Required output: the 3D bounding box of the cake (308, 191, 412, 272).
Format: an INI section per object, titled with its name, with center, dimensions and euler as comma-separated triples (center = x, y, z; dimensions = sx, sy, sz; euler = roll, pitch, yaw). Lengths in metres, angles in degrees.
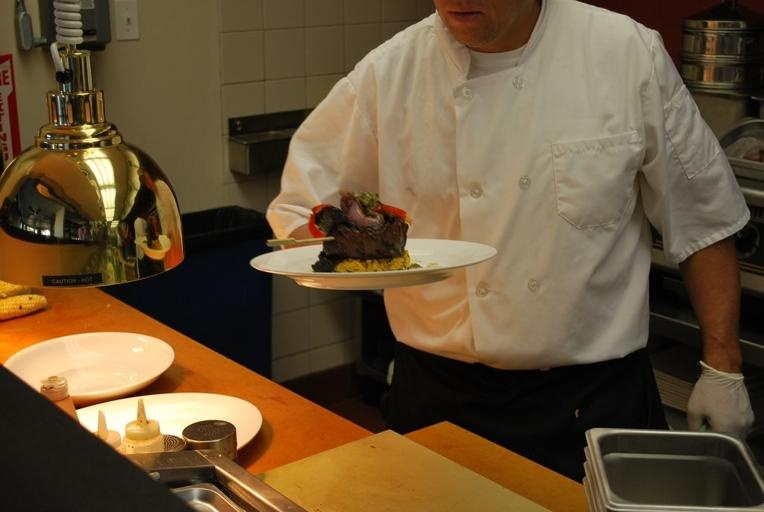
[cake]
center = -0.056, -0.053, 1.415
dimensions = 0.157, 0.080, 0.158
euler = 1, 44, -5
